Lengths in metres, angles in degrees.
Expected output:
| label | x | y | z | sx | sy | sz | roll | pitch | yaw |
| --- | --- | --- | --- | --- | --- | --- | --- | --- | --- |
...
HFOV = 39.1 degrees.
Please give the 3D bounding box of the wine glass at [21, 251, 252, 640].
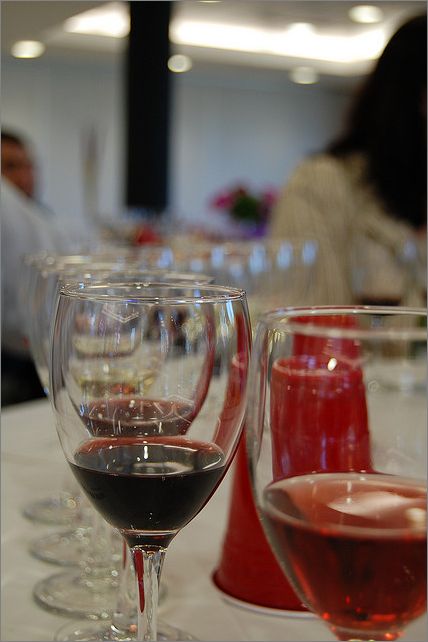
| label | x | y | z | sx | sy | sz | roll | pitch | yaw |
| --- | --- | --- | --- | --- | --- | --- | --- | --- | --- |
| wine glass | -0.022 | 0.050 | 0.212 | 0.069 | 0.120 | 0.033 | -1 | 7 | -9 |
